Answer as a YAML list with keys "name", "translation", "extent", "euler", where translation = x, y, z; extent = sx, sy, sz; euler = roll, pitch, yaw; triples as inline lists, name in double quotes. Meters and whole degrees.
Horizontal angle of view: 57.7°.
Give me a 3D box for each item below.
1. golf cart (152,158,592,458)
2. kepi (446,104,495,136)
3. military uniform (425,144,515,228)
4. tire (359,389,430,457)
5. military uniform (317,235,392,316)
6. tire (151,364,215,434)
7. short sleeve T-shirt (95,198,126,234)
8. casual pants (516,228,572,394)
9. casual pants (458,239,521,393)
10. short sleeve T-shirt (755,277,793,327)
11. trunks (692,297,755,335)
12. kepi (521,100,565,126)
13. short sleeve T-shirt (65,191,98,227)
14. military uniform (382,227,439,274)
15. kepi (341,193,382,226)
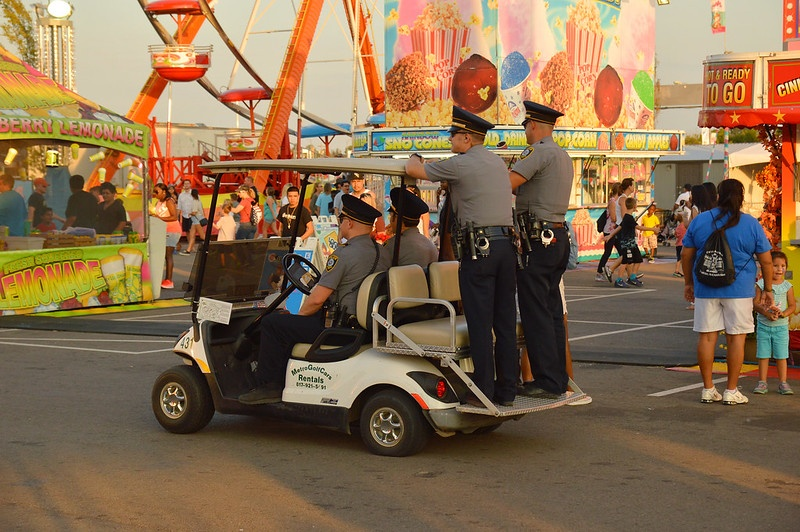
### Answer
- name: "golf cart"
  translation: [-0.528, 0.257, 7.757]
  extent: [4.269, 2.799, 2.395]
  euler: [3, 2, 28]
- name: "kepi"
  translation: [0.625, -1.241, 6.358]
  extent: [0.335, 0.188, 0.300]
  euler: [8, 5, 3]
- name: "military uniform"
  translation: [0.532, -0.719, 6.379]
  extent: [0.673, 0.657, 0.727]
  euler: [-4, 9, -42]
- name: "tire"
  translation: [-0.043, 1.333, 6.210]
  extent: [0.512, 0.506, 0.200]
  euler: [-18, -3, 28]
- name: "military uniform"
  translation: [-0.407, 0.102, 6.623]
  extent: [0.939, 0.754, 0.459]
  euler: [-7, 13, -32]
- name: "tire"
  translation: [-2.077, 1.290, 6.983]
  extent: [0.527, 0.524, 0.208]
  euler: [27, 15, 26]
- name: "short sleeve T-shirt"
  translation: [-6.419, -1.126, 15.982]
  extent: [0.712, 0.757, 0.426]
  euler: [6, 8, -4]
- name: "casual pants"
  translation: [1.346, 0.400, 6.647]
  extent: [0.297, 1.521, 0.657]
  euler: [0, 0, 44]
- name: "casual pants"
  translation: [0.788, 0.451, 6.236]
  extent: [0.554, 1.386, 0.226]
  euler: [0, 0, -29]
- name: "short sleeve T-shirt"
  translation: [4.207, 0.404, 8.195]
  extent: [0.524, 0.552, 0.370]
  euler: [1, -11, -1]
- name: "trunks"
  translation: [3.497, 0.618, 7.865]
  extent: [0.666, 0.509, 0.392]
  euler: [-4, -10, 44]
- name: "kepi"
  translation: [1.298, -1.396, 6.697]
  extent: [0.335, 0.171, 0.296]
  euler: [4, 10, 18]
- name: "short sleeve T-shirt"
  translation: [-6.934, -1.234, 15.820]
  extent: [0.761, 0.792, 0.440]
  euler: [-1, 10, -17]
- name: "military uniform"
  translation: [0.088, -0.160, 7.004]
  extent: [0.687, 0.553, 0.357]
  euler: [1, 4, -20]
- name: "kepi"
  translation: [-0.371, -0.521, 6.722]
  extent: [0.324, 0.144, 0.281]
  euler: [19, 13, 13]
